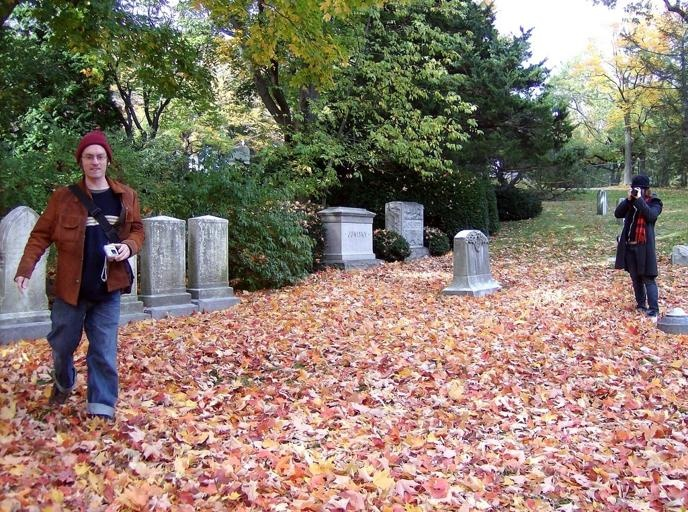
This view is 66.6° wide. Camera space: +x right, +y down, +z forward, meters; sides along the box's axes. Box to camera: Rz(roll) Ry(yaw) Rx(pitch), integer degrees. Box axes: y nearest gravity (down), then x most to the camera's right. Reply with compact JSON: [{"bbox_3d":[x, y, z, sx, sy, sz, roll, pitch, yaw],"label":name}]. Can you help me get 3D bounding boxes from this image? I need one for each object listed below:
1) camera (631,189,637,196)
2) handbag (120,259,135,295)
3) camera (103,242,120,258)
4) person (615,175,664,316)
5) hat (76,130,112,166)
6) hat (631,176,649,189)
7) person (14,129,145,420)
[{"bbox_3d":[4.413,-0.976,7.972,0.092,0.128,0.079,1,7,9],"label":"camera"},{"bbox_3d":[-1.889,0.177,4.579,0.090,0.297,0.293,-1,-3,-33],"label":"handbag"},{"bbox_3d":[-1.943,-0.058,4.347,0.035,0.106,0.110,-24,-1,26],"label":"camera"},{"bbox_3d":[4.561,-0.193,8.121,0.719,2.091,0.703,5,11,28],"label":"person"},{"bbox_3d":[-2.179,-0.950,4.510,0.264,0.287,0.272,-5,11,-27],"label":"hat"},{"bbox_3d":[4.572,-1.144,8.126,0.286,0.227,0.225,-8,13,-24],"label":"hat"},{"bbox_3d":[-2.219,0.167,4.475,0.944,2.443,0.513,-3,10,-19],"label":"person"}]
